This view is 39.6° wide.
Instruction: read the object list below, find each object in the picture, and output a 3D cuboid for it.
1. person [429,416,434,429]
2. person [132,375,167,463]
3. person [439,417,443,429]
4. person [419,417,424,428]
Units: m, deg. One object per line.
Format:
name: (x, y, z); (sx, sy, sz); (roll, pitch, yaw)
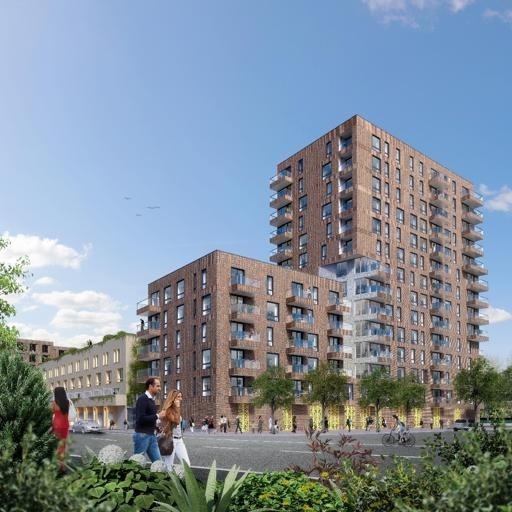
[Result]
person: (16.906, 15.831, 67.675); (0.353, 1.173, 1.540); (-8, -8, 16)
person: (-1.553, 2.353, 10.149); (0.433, 1.198, 0.886); (-4, -8, -11)
person: (18.318, 16.286, 69.307); (0.420, 0.874, 0.632); (-9, -8, 25)
person: (15.515, 15.371, 65.749); (0.561, 0.674, 1.842); (10, -15, 16)
